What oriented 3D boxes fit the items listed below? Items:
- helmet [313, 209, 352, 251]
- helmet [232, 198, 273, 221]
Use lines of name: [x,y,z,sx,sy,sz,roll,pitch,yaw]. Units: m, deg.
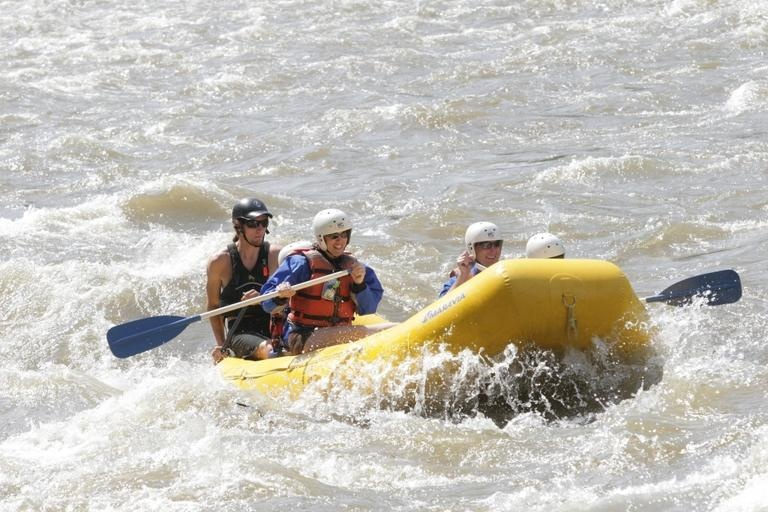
helmet: [-0.682,-0.334,17.202,0.480,0.412,0.557,-13,18,-37]
helmet: [-1.812,-0.614,17.597,0.484,0.175,0.332,-7,-3,31]
